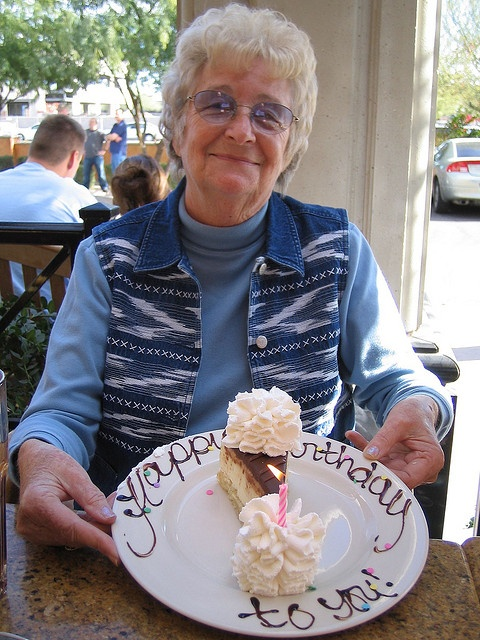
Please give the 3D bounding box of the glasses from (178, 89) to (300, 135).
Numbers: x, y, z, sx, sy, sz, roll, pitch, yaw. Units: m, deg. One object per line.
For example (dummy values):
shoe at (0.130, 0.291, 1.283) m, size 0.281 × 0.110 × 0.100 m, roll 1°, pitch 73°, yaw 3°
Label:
glasses at (0.011, -0.582, 1.625) m, size 0.275 × 0.119 × 0.102 m, roll 1°, pitch 14°, yaw -1°

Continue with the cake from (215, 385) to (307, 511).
cake at (0.024, 0.272, 1.301) m, size 0.140 × 0.167 × 0.284 m, roll 5°, pitch -1°, yaw -4°
